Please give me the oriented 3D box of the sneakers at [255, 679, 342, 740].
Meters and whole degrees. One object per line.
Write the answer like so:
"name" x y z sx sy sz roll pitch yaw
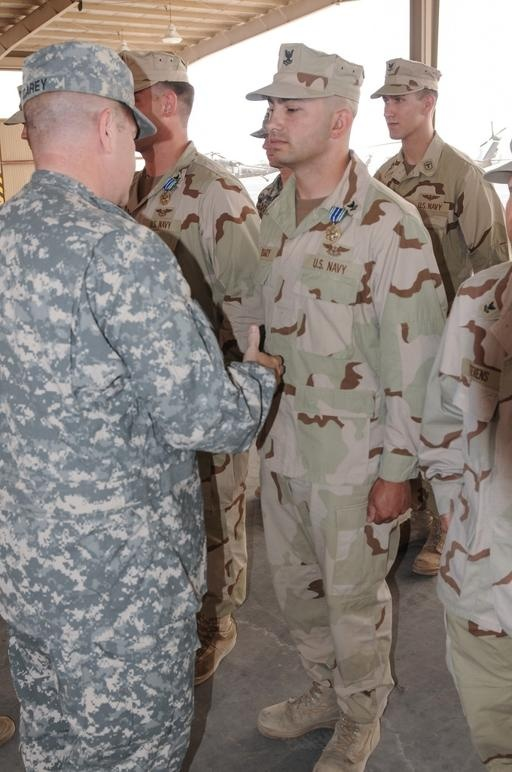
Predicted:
"sneakers" 0.073 0.993 2.152 0.355 0.198 0.111 -3 53 -5

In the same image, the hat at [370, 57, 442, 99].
"hat" 0.756 -1.564 3.629 0.317 0.130 0.235 -8 10 -39

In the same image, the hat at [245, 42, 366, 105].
"hat" 0.147 -0.847 1.912 0.321 0.125 0.219 -4 30 -14

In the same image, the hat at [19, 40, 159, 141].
"hat" -0.303 -0.562 1.362 0.267 0.117 0.187 0 9 -19
